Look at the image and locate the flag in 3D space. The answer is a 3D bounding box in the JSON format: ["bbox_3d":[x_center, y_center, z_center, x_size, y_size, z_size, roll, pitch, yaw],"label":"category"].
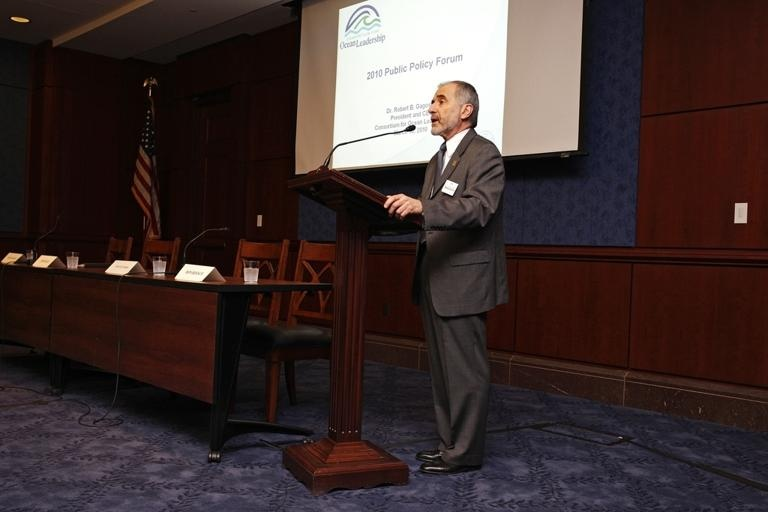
[{"bbox_3d":[-3.148,-1.116,7.573,0.311,1.710,0.655,-1,5,-24],"label":"flag"}]

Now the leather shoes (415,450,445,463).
[{"bbox_3d":[0.264,1.136,3.275,0.137,0.057,0.068,6,-5,-6],"label":"leather shoes"}]

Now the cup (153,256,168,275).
[{"bbox_3d":[-1.537,0.062,3.921,0.090,0.132,0.097,1,-7,0],"label":"cup"}]

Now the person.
[{"bbox_3d":[0.396,0.111,3.110,0.535,2.189,0.635,2,4,12],"label":"person"}]

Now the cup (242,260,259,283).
[{"bbox_3d":[-0.825,0.105,3.579,0.116,0.170,0.118,-1,-12,0],"label":"cup"}]

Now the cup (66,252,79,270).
[{"bbox_3d":[-2.411,0.038,4.429,0.110,0.169,0.105,0,-2,0],"label":"cup"}]
